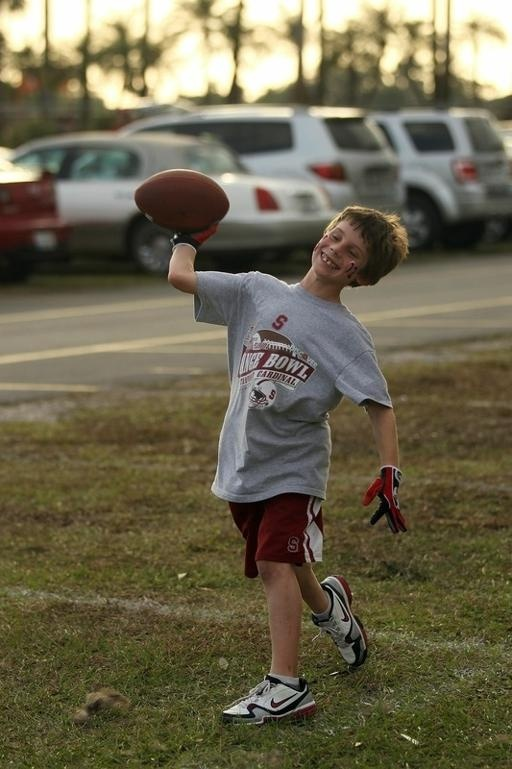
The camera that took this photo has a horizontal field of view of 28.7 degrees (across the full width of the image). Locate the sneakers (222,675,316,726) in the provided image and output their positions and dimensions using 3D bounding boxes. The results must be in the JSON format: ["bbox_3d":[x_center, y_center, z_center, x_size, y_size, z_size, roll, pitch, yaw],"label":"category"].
[{"bbox_3d":[0.037,0.775,2.488,0.284,0.100,0.084,-6,-2,-14],"label":"sneakers"}]

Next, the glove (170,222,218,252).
[{"bbox_3d":[-0.165,-0.392,2.664,0.121,0.049,0.075,0,30,-3],"label":"glove"}]

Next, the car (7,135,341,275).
[{"bbox_3d":[-0.895,-1.713,9.424,3.464,0.875,1.313,6,10,13],"label":"car"}]

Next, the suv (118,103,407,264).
[{"bbox_3d":[-0.667,-2.515,11.604,4.537,1.494,1.932,11,16,21],"label":"suv"}]

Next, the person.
[{"bbox_3d":[0.110,0.172,2.560,0.612,1.252,0.482,-3,9,-7],"label":"person"}]
